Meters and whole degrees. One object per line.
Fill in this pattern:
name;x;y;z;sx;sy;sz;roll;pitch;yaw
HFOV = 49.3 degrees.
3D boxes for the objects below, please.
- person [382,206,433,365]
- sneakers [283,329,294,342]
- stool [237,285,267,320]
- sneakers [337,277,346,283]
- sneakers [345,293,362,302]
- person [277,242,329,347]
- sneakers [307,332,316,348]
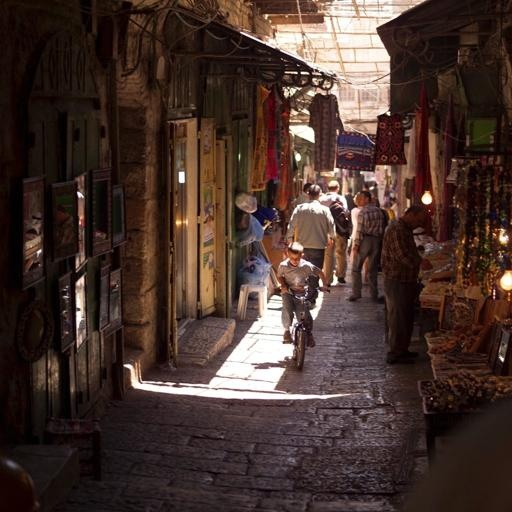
person;2.029;0.423;7.722;0.577;2.245;0.566;0;1;14
sneakers;0.514;1.273;8.933;0.144;0.201;0.154;1;-3;-13
stool;-0.072;0.887;11.100;0.545;0.776;0.642;1;1;1
sneakers;2.145;0.599;14.080;0.160;0.193;0.120;0;8;14
sneakers;2.144;0.893;12.353;0.332;0.280;0.127;3;9;14
person;0.669;0.552;8.513;0.606;1.585;0.591;0;11;5
sneakers;0.826;1.250;8.263;0.065;0.212;0.132;-2;7;-40
